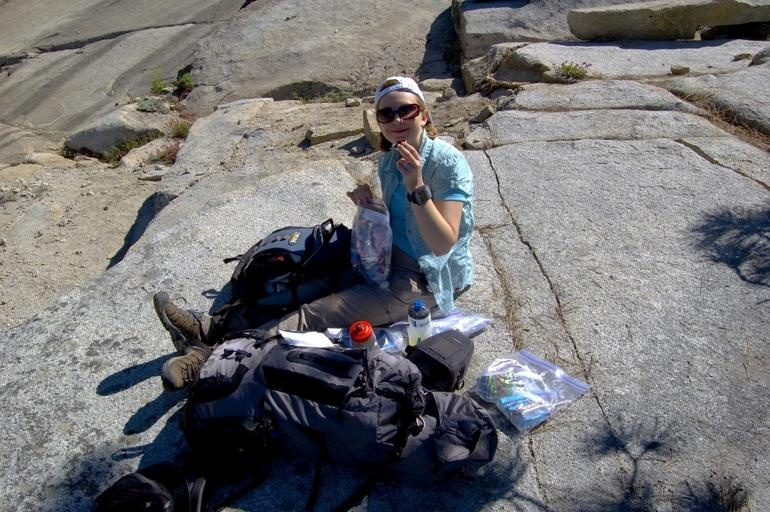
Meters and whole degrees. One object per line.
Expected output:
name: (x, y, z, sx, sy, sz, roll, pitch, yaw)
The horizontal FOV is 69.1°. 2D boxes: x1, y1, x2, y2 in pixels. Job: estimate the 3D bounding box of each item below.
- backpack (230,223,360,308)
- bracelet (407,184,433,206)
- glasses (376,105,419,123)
backpack: (-0.858, 0.061, 5.205, 1.123, 0.385, 0.702, -18, 36, 8)
bracelet: (0.279, -0.491, 4.616, 0.174, 0.117, 0.134, -21, 56, 0)
glasses: (0.111, -1.246, 4.924, 0.385, 0.116, 0.129, -9, 57, 7)
